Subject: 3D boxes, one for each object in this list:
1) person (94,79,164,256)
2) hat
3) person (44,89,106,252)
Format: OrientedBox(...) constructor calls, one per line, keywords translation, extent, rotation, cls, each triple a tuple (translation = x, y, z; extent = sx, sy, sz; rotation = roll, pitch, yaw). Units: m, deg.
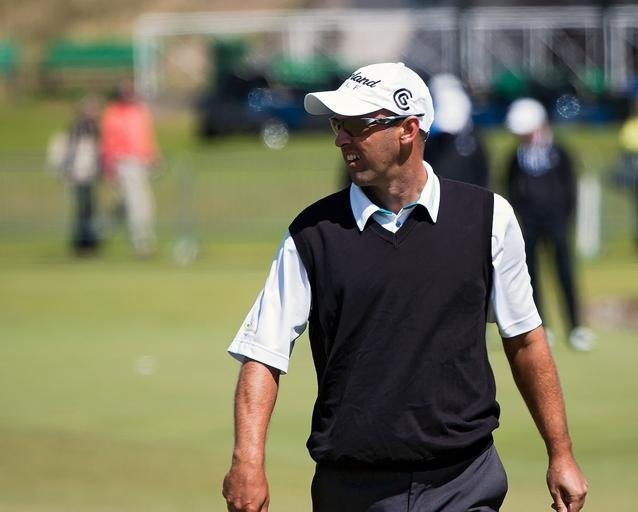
OrientedBox(translation=(-1.609, -0.886, 10.767), extent=(0.576, 0.837, 1.446), rotation=(-6, 48, 1), cls="person")
OrientedBox(translation=(0.286, -0.820, 6.835), extent=(0.529, 0.333, 0.391), rotation=(7, 1, -22), cls="hat")
OrientedBox(translation=(-1.910, -0.519, 9.825), extent=(0.375, 1.310, 1.712), rotation=(-2, 14, -10), cls="person")
